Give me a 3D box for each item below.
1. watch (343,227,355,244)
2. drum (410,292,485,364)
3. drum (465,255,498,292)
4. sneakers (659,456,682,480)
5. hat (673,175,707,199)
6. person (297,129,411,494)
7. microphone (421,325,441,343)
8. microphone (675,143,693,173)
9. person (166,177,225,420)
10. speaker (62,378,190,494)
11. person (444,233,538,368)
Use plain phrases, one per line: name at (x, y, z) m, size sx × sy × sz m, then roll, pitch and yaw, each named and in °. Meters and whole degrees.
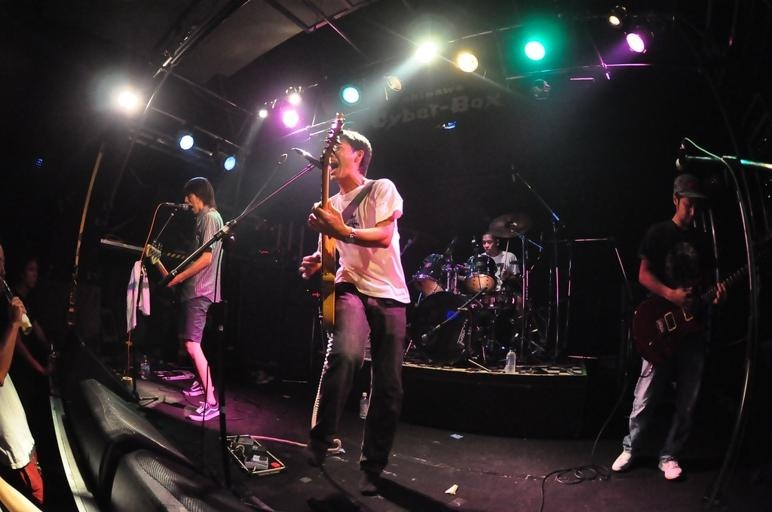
watch at (-0.286, -0.166, 4.436) m, size 0.080 × 0.121 × 0.107 m, roll 1°, pitch -9°, yaw -19°
drum at (0.689, 0.896, 6.914) m, size 0.796 × 0.792 × 0.665 m, roll 3°, pitch 8°, yaw 5°
drum at (1.482, 0.205, 7.904) m, size 0.349 × 0.384 × 0.352 m, roll 21°, pitch 1°, yaw 17°
sneakers at (2.555, 1.881, 4.855) m, size 0.202 × 0.154 × 0.194 m, roll 3°, pitch 8°, yaw 3°
hat at (2.745, -0.638, 4.956) m, size 0.200 × 0.155 × 0.275 m, roll 6°, pitch -1°, yaw 0°
person at (-0.239, 0.447, 4.577) m, size 0.853 × 2.997 × 0.934 m, roll 1°, pitch 8°, yaw -9°
microphone at (0.555, 0.982, 6.936) m, size 0.245 × 0.178 × 0.136 m, roll -5°, pitch 11°, yaw -40°
microphone at (2.432, -0.827, 4.464) m, size 0.088 × 0.238 × 0.536 m, roll 6°, pitch 9°, yaw 27°
person at (-2.033, 0.447, 5.864) m, size 0.532 × 2.525 × 1.211 m, roll -1°, pitch 9°, yaw -18°
speaker at (-2.093, 1.285, 4.260) m, size 0.634 × 0.335 × 1.279 m, roll -1°, pitch 17°, yaw -46°
person at (1.483, 0.675, 7.620) m, size 0.915 × 1.680 × 0.958 m, roll -25°, pitch -53°, yaw 36°
